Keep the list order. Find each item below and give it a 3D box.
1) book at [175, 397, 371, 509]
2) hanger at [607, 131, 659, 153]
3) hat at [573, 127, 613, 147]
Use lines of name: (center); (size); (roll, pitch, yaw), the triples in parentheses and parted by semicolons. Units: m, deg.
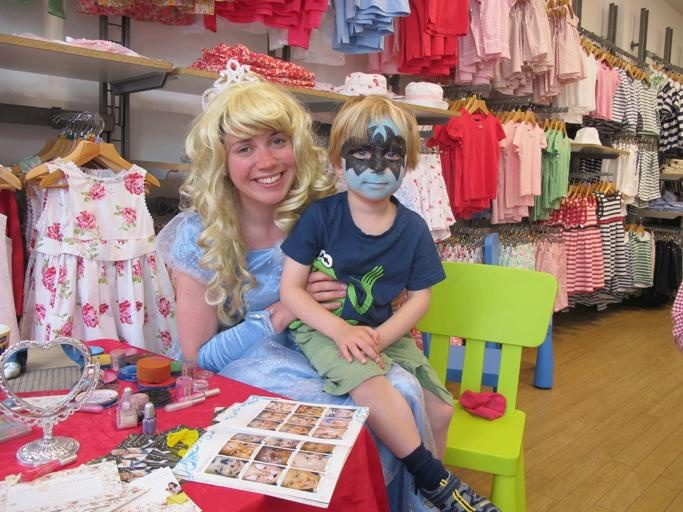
book: (-0.117, 0.361, 1.012); (0.291, 0.053, 0.305); (4, 8, 16)
hanger: (3.398, -1.300, 5.967); (1.117, 0.184, 0.351); (-4, 10, -37)
hat: (2.495, -1.187, 5.162); (0.335, 0.150, 0.458); (5, 12, 26)
